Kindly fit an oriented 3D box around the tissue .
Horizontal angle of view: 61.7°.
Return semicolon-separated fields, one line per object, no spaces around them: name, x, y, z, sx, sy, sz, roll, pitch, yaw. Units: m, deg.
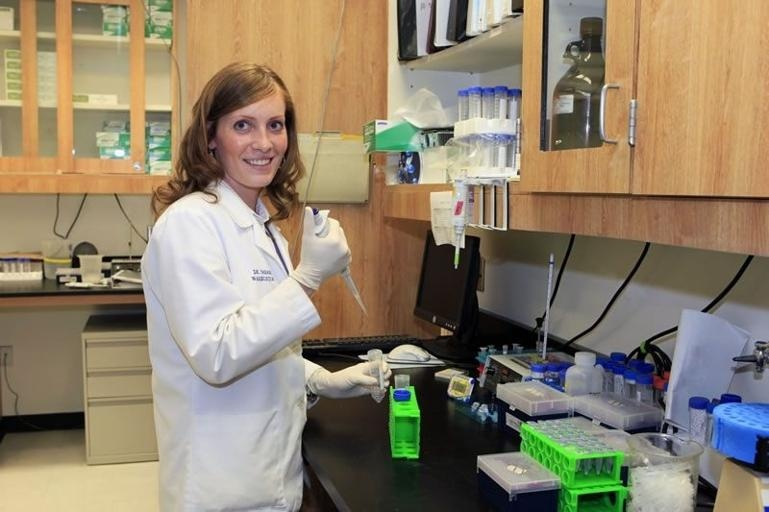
tissue ;0.098;-0.683;3.077;0.448;0.264;0.460;18;23;18

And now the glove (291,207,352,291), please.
glove;-0.221;-0.002;2.067;0.182;0.258;0.114;-19;-1;-20

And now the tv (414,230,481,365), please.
tv;0.322;0.185;3.073;0.204;0.583;0.567;5;2;-18

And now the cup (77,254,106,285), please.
cup;-1.770;0.067;3.929;0.163;0.206;0.188;-3;2;-12

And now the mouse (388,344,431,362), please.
mouse;0.106;0.434;2.841;0.132;0.047;0.083;-1;4;-8

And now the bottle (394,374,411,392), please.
bottle;0.066;0.446;2.293;0.052;0.061;0.052;12;13;42

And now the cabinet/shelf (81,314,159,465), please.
cabinet/shelf;-1.611;0.865;3.943;0.427;0.759;0.408;-1;-6;-22

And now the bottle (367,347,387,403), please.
bottle;0.002;0.422;2.246;0.070;0.182;0.072;5;-11;1

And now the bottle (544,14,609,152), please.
bottle;0.594;-0.511;1.939;0.149;0.401;0.152;-1;32;1

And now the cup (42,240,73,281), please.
cup;-2.057;0.027;4.033;0.169;0.255;0.156;4;7;-1
